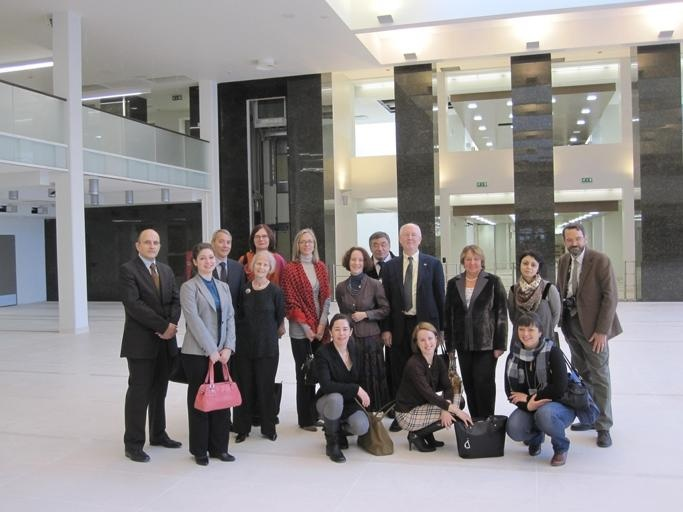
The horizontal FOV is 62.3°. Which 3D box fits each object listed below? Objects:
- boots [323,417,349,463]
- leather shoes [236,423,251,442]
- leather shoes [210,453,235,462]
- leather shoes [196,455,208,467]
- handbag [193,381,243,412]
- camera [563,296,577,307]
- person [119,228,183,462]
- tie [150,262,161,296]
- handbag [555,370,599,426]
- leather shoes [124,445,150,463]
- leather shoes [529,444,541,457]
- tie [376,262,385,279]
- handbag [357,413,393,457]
[{"bbox_3d":[-0.069,2.020,6.306,0.217,0.417,0.408,-2,5,-2],"label":"boots"},{"bbox_3d":[-1.170,2.145,6.836,0.099,0.189,0.278,1,-4,26],"label":"leather shoes"},{"bbox_3d":[-1.298,2.208,6.225,0.223,0.090,0.090,0,-3,3],"label":"leather shoes"},{"bbox_3d":[-1.506,2.211,6.141,0.141,0.103,0.134,-3,5,-15],"label":"leather shoes"},{"bbox_3d":[-1.327,1.434,6.169,0.194,0.465,0.506,-4,-4,44],"label":"handbag"},{"bbox_3d":[2.779,0.557,6.892,0.099,0.111,0.128,1,-10,-10],"label":"camera"},{"bbox_3d":[-2.166,0.973,6.445,0.710,2.541,0.648,-4,5,-21],"label":"person"},{"bbox_3d":[-2.148,0.233,6.548,0.079,0.270,0.193,-5,-10,-29],"label":"tie"},{"bbox_3d":[2.539,1.541,6.137,0.243,0.574,0.457,-8,16,-18],"label":"handbag"},{"bbox_3d":[-2.250,2.202,6.284,0.338,0.211,0.121,-6,-6,27],"label":"leather shoes"},{"bbox_3d":[2.127,2.115,6.179,0.168,0.114,0.083,-3,5,-21],"label":"leather shoes"},{"bbox_3d":[0.529,0.193,7.665,0.049,0.205,0.120,22,-31,-31],"label":"tie"},{"bbox_3d":[0.367,2.037,6.387,0.214,0.430,0.430,-7,3,-41],"label":"handbag"}]
